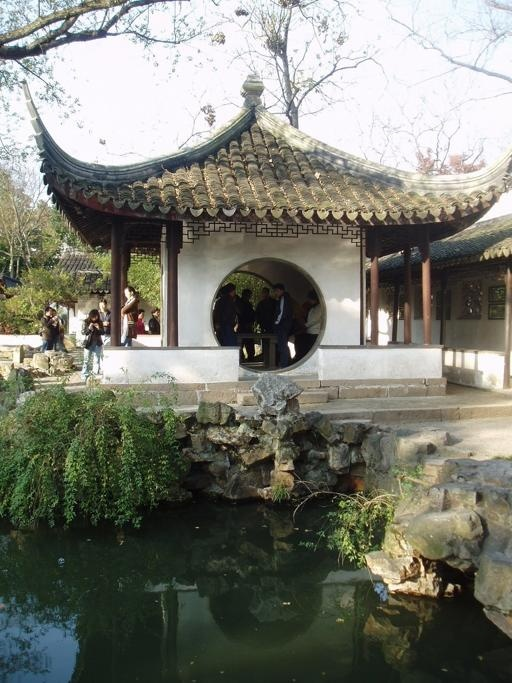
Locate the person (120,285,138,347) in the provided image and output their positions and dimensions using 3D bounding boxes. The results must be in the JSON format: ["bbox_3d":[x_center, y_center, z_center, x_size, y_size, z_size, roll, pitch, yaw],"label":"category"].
[{"bbox_3d":[-2.080,-0.432,9.851,0.283,0.916,1.211,-3,7,-12],"label":"person"}]

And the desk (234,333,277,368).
[{"bbox_3d":[0.052,0.176,12.119,0.707,0.433,0.698,-1,4,-19],"label":"desk"}]

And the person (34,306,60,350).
[{"bbox_3d":[-5.127,-0.266,14.925,0.453,1.167,1.611,-4,7,-18],"label":"person"}]
